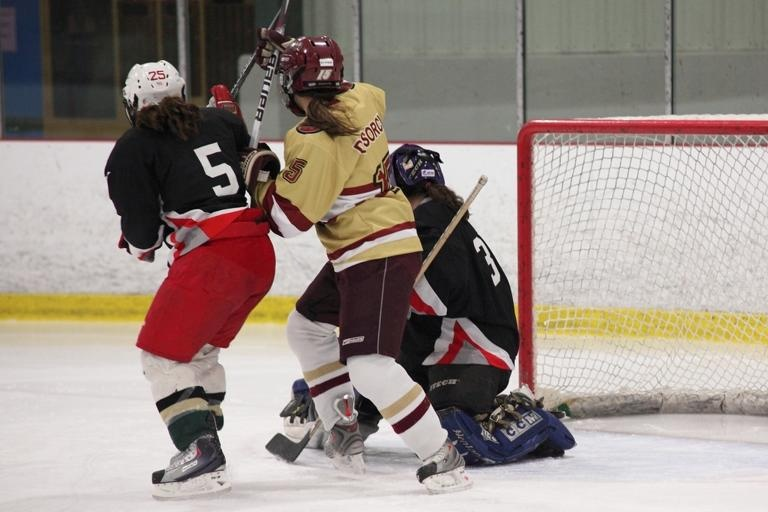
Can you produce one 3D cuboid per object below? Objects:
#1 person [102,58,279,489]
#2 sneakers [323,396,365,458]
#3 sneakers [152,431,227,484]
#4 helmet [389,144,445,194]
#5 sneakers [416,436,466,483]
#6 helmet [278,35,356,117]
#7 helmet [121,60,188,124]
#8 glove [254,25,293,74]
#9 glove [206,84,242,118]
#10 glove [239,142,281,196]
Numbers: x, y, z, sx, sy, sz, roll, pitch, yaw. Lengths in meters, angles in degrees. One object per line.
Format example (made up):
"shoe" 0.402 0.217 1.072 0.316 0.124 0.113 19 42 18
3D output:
"person" -1.000 0.109 6.094 0.864 2.215 0.535 0 8 -13
"sneakers" -0.212 0.921 6.349 0.174 0.175 0.368 -10 20 -12
"sneakers" -0.974 1.044 6.068 0.483 0.279 0.150 -11 -10 20
"helmet" 0.155 -0.497 6.557 0.237 0.271 0.297 -3 20 -18
"sneakers" 0.287 1.065 6.076 0.125 0.243 0.362 -8 -9 43
"helmet" -0.379 -0.958 6.195 0.355 0.390 0.410 -2 5 1
"helmet" -1.202 -0.882 6.254 0.305 0.335 0.342 -13 17 -17
"glove" -0.571 -1.071 6.150 0.226 0.219 0.082 15 17 24
"glove" -0.877 -0.800 6.378 0.207 0.072 0.172 15 7 -10
"glove" -0.657 -0.468 6.154 0.172 0.278 0.175 -28 55 -34
